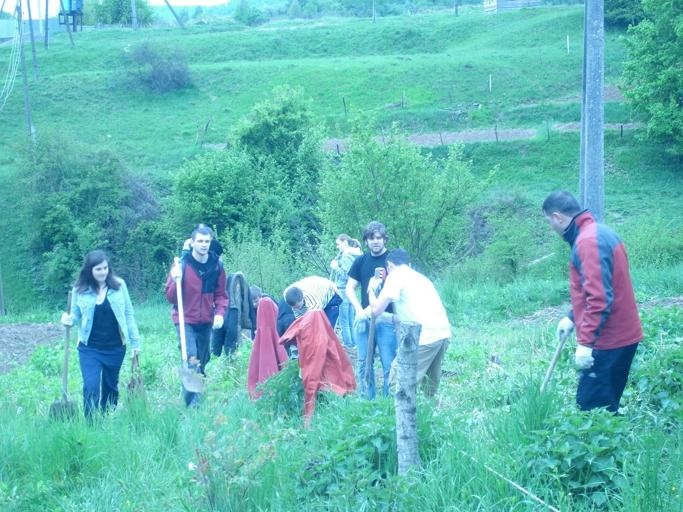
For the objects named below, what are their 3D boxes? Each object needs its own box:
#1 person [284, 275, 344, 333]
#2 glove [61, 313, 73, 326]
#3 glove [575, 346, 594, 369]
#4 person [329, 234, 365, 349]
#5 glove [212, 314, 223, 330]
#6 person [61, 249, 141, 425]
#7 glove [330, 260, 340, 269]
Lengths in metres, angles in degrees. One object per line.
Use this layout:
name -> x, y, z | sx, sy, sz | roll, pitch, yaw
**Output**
person -> -0.506, 0.900, 14.925 | 0.390, 0.840, 1.049 | 15, -11, 33
glove -> -4.793, 1.095, 13.925 | 0.164, 0.258, 0.218 | -3, 5, -27
glove -> 3.607, 1.500, 11.890 | 0.260, 0.417, 0.201 | -3, 5, 20
person -> 0.165, 0.858, 17.084 | 0.752, 2.768, 0.753 | 8, -11, -17
glove -> -2.343, 1.233, 15.085 | 0.207, 0.251, 0.195 | -20, -17, 39
person -> -4.388, 1.538, 14.178 | 1.302, 3.350, 0.915 | -9, 26, -37
glove -> -0.164, 0.171, 17.141 | 0.148, 0.198, 0.515 | -5, 5, -8
